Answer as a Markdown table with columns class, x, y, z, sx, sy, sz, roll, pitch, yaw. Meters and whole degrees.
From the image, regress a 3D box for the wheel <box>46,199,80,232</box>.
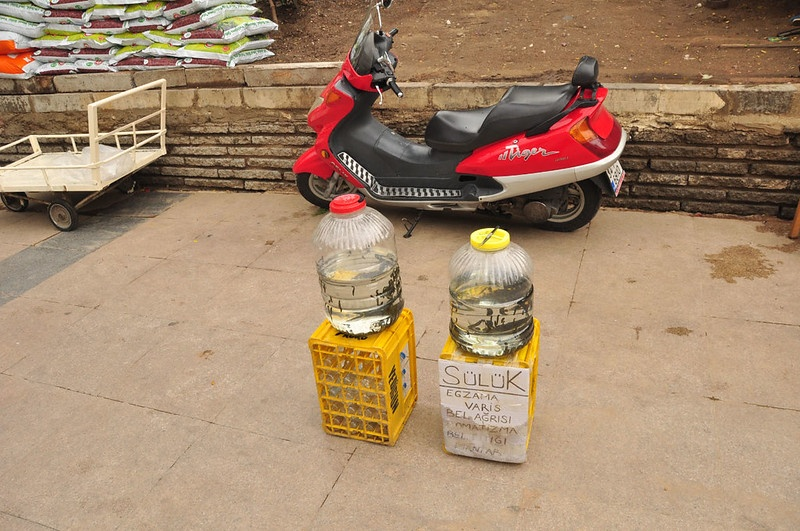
| class | x | y | z | sx | sy | sz | roll | pitch | yaw |
| --- | --- | --- | --- | --- | --- | --- | --- | --- | --- |
| wheel | -4.264 | -0.618 | 7.068 | 0.382 | 0.356 | 0.114 | 22 | 28 | 6 |

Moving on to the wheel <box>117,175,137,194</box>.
| class | x | y | z | sx | sy | sz | roll | pitch | yaw |
| --- | --- | --- | --- | --- | --- | --- | --- | --- | --- |
| wheel | -3.843 | -1.127 | 7.841 | 0.306 | 0.212 | 0.211 | 7 | 54 | 18 |

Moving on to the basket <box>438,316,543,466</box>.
| class | x | y | z | sx | sy | sz | roll | pitch | yaw |
| --- | --- | --- | --- | --- | --- | --- | --- | --- | --- |
| basket | 0.584 | 0.986 | 4.243 | 0.776 | 0.941 | 0.786 | 6 | 34 | 15 |

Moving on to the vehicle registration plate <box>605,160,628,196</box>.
| class | x | y | z | sx | sy | sz | roll | pitch | yaw |
| --- | --- | --- | --- | --- | --- | --- | --- | --- | --- |
| vehicle registration plate | 2.263 | -0.936 | 5.877 | 0.125 | 0.352 | 0.400 | 13 | 36 | 26 |

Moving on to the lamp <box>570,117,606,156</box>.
| class | x | y | z | sx | sy | sz | roll | pitch | yaw |
| --- | --- | --- | --- | --- | --- | --- | --- | --- | --- |
| lamp | 1.861 | -1.265 | 5.543 | 0.328 | 0.337 | 0.143 | 5 | 35 | 15 |

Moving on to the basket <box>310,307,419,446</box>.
| class | x | y | z | sx | sy | sz | roll | pitch | yaw |
| --- | --- | --- | --- | --- | --- | --- | --- | --- | --- |
| basket | -0.259 | 0.842 | 4.141 | 0.873 | 1.011 | 0.837 | 3 | 31 | 16 |
